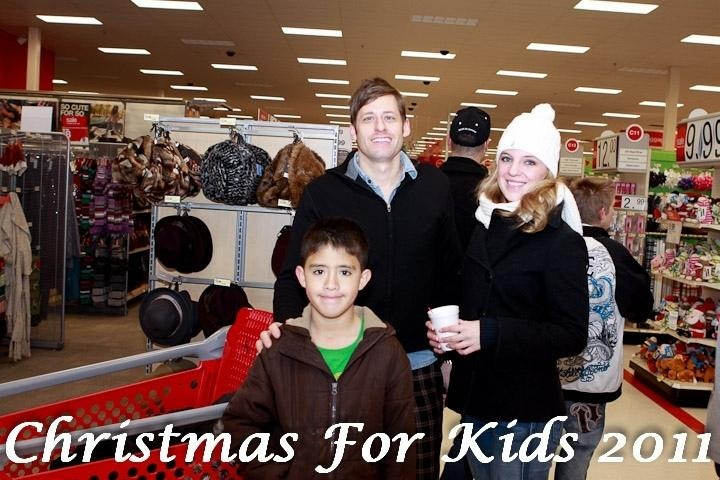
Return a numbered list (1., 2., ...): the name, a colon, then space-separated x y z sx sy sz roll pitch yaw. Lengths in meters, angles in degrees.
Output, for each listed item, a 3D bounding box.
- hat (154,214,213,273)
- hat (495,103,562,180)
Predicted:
1. hat: -1.672 0.030 4.868 0.527 0.536 0.302 0 6 -24
2. hat: 0.920 -0.571 2.843 0.295 0.357 0.428 9 23 20
